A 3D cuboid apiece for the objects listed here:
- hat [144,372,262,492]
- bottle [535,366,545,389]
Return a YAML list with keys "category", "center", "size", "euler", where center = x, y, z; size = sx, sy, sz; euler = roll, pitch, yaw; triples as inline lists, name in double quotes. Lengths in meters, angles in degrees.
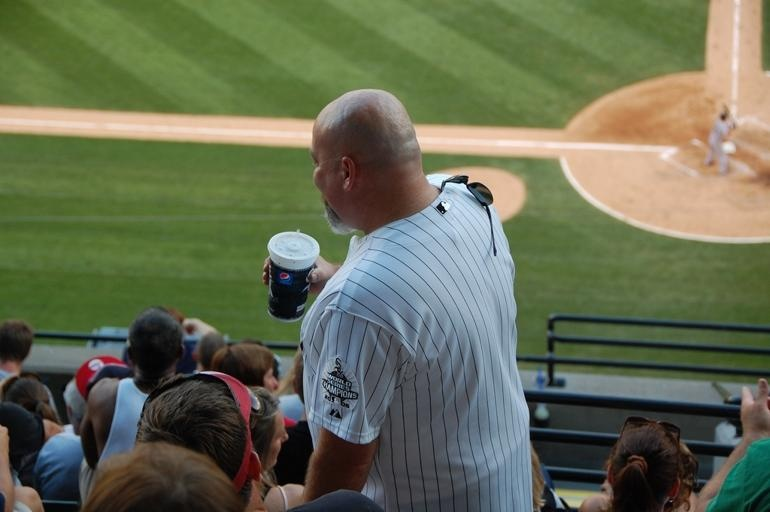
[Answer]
- category: "hat"
  center: [-1.600, 1.522, 13.588]
  size: [0.910, 0.957, 1.119]
  euler: [2, 4, 22]
- category: "bottle"
  center: [1.671, 1.320, 16.487]
  size: [0.121, 0.229, 0.169]
  euler: [3, -17, 5]
